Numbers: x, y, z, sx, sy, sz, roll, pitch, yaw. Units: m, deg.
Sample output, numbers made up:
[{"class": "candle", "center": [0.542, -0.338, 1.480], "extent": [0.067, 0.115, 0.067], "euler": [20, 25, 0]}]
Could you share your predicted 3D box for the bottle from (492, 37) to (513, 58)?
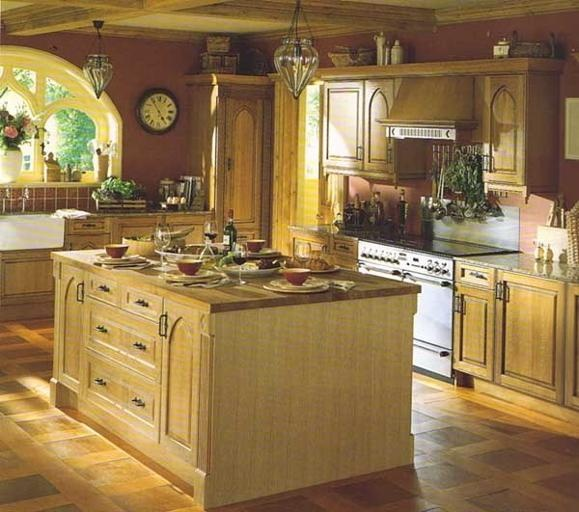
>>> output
[{"class": "bottle", "center": [1.732, -1.721, 4.689], "extent": [0.167, 0.171, 0.165], "euler": [3, 14, 16]}]

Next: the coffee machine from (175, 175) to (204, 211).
[{"class": "coffee machine", "center": [-1.343, -0.832, 7.658], "extent": [0.217, 0.471, 0.507], "euler": [-2, 5, -39]}]

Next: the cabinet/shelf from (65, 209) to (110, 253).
[{"class": "cabinet/shelf", "center": [-2.523, -0.328, 6.900], "extent": [0.495, 0.685, 0.460], "euler": [-2, 4, -32]}]

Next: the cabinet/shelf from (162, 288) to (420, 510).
[{"class": "cabinet/shelf", "center": [-0.107, 0.709, 3.342], "extent": [0.995, 1.274, 1.786], "euler": [0, 0, -24]}]

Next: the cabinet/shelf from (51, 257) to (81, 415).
[{"class": "cabinet/shelf", "center": [-1.616, 0.588, 4.084], "extent": [0.136, 1.051, 0.510], "euler": [-3, 10, -36]}]

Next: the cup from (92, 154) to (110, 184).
[{"class": "cup", "center": [-2.493, -1.164, 7.543], "extent": [0.201, 0.377, 0.135], "euler": [1, 8, -18]}]

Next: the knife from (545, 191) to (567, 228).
[{"class": "knife", "center": [2.143, -0.366, 4.555], "extent": [0.129, 0.262, 0.183], "euler": [7, 9, 24]}]

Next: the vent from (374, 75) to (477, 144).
[{"class": "vent", "center": [1.294, -1.380, 5.279], "extent": [0.331, 0.612, 0.984], "euler": [0, 11, -30]}]

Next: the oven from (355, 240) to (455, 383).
[{"class": "oven", "center": [1.323, 0.445, 5.436], "extent": [0.852, 1.125, 1.222], "euler": [-8, 13, -31]}]

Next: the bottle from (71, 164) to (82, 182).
[{"class": "bottle", "center": [-2.824, -1.100, 7.542], "extent": [0.134, 0.214, 0.316], "euler": [0, 9, -21]}]

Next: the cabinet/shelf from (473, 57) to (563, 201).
[{"class": "cabinet/shelf", "center": [1.873, -1.040, 4.603], "extent": [0.643, 1.065, 0.324], "euler": [7, 8, 23]}]

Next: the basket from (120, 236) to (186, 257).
[{"class": "basket", "center": [-0.976, -0.060, 3.921], "extent": [0.297, 0.086, 0.179], "euler": [4, 3, 17]}]

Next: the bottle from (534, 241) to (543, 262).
[{"class": "bottle", "center": [1.994, -0.040, 4.548], "extent": [0.075, 0.153, 0.112], "euler": [6, 9, 19]}]

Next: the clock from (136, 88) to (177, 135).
[{"class": "clock", "center": [-1.841, -1.885, 7.843], "extent": [0.585, 0.546, 0.575], "euler": [8, -17, -34]}]

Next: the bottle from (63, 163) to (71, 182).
[{"class": "bottle", "center": [-2.877, -1.083, 7.388], "extent": [0.151, 0.228, 0.093], "euler": [10, 10, 40]}]

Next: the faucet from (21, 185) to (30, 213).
[{"class": "faucet", "center": [-3.260, -0.711, 7.011], "extent": [0.091, 0.302, 0.164], "euler": [1, 8, -16]}]

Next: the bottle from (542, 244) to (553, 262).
[{"class": "bottle", "center": [2.037, -0.025, 4.495], "extent": [0.045, 0.131, 0.083], "euler": [-2, 9, -33]}]

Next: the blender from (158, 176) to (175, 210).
[{"class": "blender", "center": [-1.651, -0.841, 7.656], "extent": [0.206, 0.402, 0.521], "euler": [1, 8, -13]}]
